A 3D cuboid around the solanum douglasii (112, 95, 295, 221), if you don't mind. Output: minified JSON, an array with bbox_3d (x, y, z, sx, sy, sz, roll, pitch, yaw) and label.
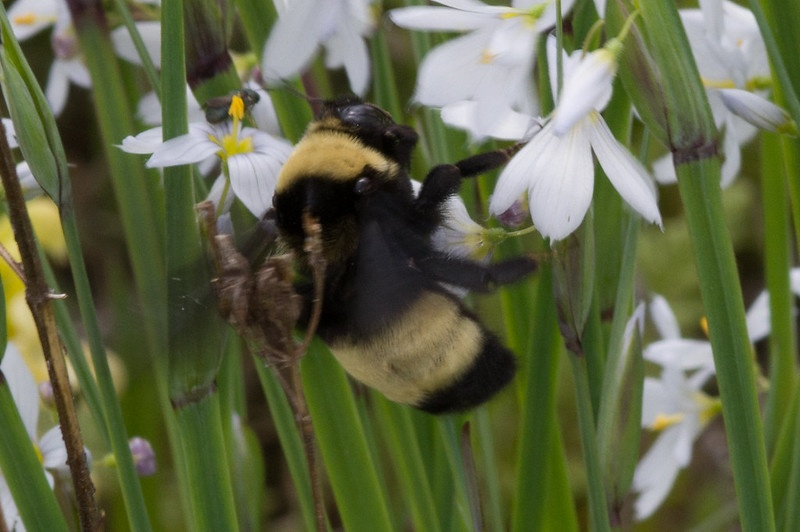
[{"bbox_3d":[-0.174,-0.111,1.058,0.115,0.081,0.131,15,21,-5],"label":"solanum douglasii"}]

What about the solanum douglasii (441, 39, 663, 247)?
[{"bbox_3d":[0.139,-0.104,0.993,0.144,0.169,0.186,-21,23,-19],"label":"solanum douglasii"}]
